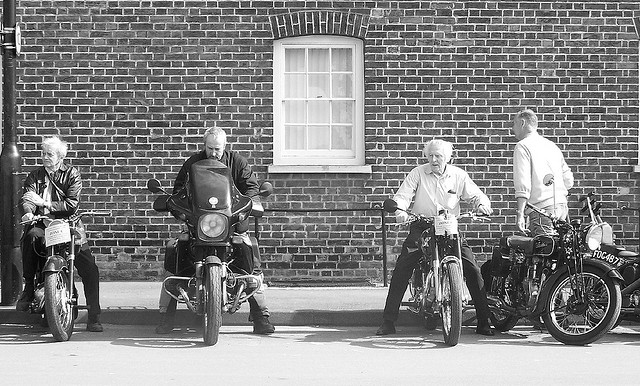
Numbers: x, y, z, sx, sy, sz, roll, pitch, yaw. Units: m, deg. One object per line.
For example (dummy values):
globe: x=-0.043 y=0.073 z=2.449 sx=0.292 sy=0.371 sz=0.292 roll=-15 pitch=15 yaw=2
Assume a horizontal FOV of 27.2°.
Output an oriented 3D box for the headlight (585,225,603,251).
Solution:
headlight: x=4.008 y=0.664 z=19.776 sx=0.261 sy=0.385 sz=0.109 roll=0 pitch=-1 yaw=5

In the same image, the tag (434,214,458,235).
tag: x=1.818 y=0.476 z=19.761 sx=0.429 sy=0.298 sz=0.089 roll=1 pitch=-4 yaw=11

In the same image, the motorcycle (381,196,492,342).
motorcycle: x=1.719 y=1.141 z=19.865 sx=1.314 sy=2.148 sz=0.711 roll=0 pitch=-1 yaw=12

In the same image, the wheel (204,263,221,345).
wheel: x=-1.601 y=1.641 z=19.643 sx=0.238 sy=1.219 sz=0.359 roll=0 pitch=-1 yaw=-4

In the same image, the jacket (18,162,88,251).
jacket: x=-4.029 y=0.208 z=20.516 sx=0.876 sy=1.375 sz=1.112 roll=-1 pitch=-2 yaw=-9

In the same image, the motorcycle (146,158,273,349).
motorcycle: x=-1.730 y=0.884 z=19.877 sx=1.298 sy=2.859 sz=0.869 roll=1 pitch=-2 yaw=-35

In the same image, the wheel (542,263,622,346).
wheel: x=3.855 y=1.668 z=19.901 sx=1.142 sy=1.243 sz=0.459 roll=0 pitch=-1 yaw=12

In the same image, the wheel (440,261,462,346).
wheel: x=1.889 y=1.633 z=19.660 sx=0.230 sy=1.251 sz=0.456 roll=0 pitch=-1 yaw=-18

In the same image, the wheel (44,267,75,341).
wheel: x=-3.960 y=1.655 z=20.308 sx=0.482 sy=1.213 sz=1.340 roll=-2 pitch=-10 yaw=-7

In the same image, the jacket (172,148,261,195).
jacket: x=-1.619 y=-0.272 z=20.455 sx=1.376 sy=0.793 sz=0.626 roll=5 pitch=2 yaw=3

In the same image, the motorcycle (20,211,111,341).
motorcycle: x=-3.792 y=1.336 z=20.773 sx=1.425 sy=1.135 sz=2.158 roll=-1 pitch=-6 yaw=-5
